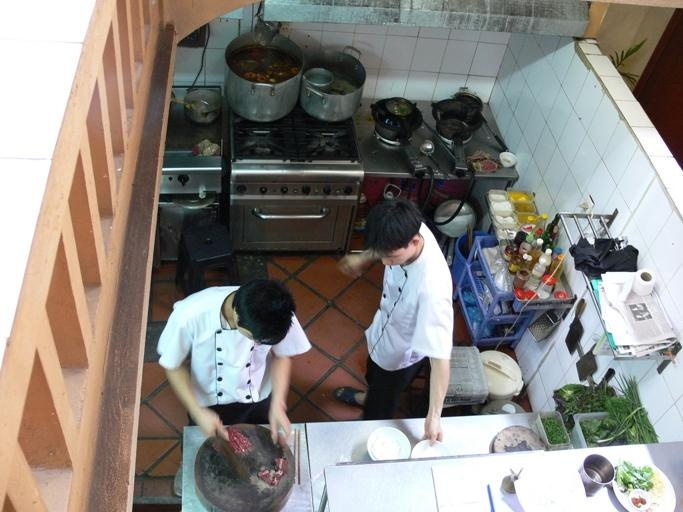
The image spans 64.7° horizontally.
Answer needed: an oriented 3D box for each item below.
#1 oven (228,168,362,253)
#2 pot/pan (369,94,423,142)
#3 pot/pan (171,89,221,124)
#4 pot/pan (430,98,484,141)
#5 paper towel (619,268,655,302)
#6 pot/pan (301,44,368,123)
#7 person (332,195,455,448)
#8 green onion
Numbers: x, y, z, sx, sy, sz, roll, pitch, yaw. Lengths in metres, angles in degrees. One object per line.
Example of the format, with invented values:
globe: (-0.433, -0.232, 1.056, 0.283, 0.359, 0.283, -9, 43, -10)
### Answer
oven: (-0.432, -0.461, 4.713, 0.921, 1.011, 0.714, -2, 60, -5)
pot/pan: (0.469, -1.160, 4.555, 0.390, 0.377, 0.395, 12, 39, 8)
pot/pan: (-1.200, -1.249, 4.490, 0.371, 0.157, 0.285, -25, 64, -22)
pot/pan: (1.013, -1.192, 4.666, 0.306, 0.159, 0.457, 8, 64, 5)
paper towel: (1.613, 0.160, 2.920, 0.197, 0.133, 0.121, -5, 43, -14)
pot/pan: (-0.075, -1.373, 4.547, 0.548, 0.649, 0.421, -7, 41, -15)
person: (0.367, 0.456, 2.920, 0.582, 1.451, 0.662, -10, 38, -25)
green onion: (1.568, 0.870, 2.956, 0.203, 0.101, 0.393, -3, 52, 9)
